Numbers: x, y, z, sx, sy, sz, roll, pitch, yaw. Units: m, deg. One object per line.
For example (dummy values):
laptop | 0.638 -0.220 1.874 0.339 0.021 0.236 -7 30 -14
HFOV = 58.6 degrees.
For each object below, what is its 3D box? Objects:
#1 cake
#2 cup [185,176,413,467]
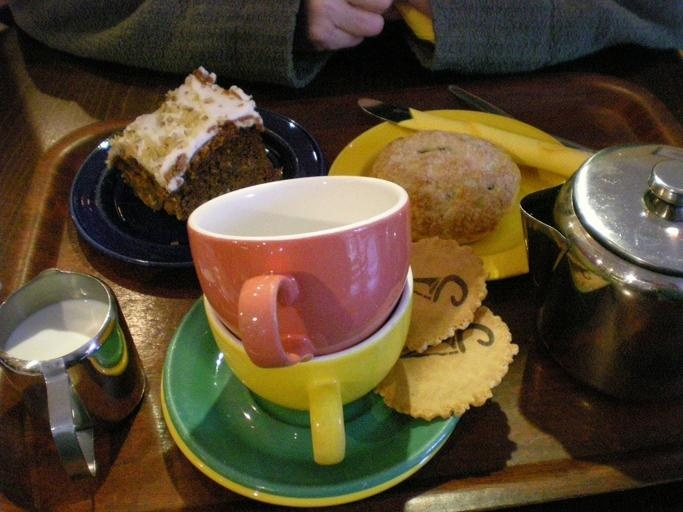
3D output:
cake | -0.201 -0.171 0.980 0.237 0.146 0.239 27 46 23
cup | -0.027 0.039 0.706 0.217 0.215 0.312 -6 28 3
